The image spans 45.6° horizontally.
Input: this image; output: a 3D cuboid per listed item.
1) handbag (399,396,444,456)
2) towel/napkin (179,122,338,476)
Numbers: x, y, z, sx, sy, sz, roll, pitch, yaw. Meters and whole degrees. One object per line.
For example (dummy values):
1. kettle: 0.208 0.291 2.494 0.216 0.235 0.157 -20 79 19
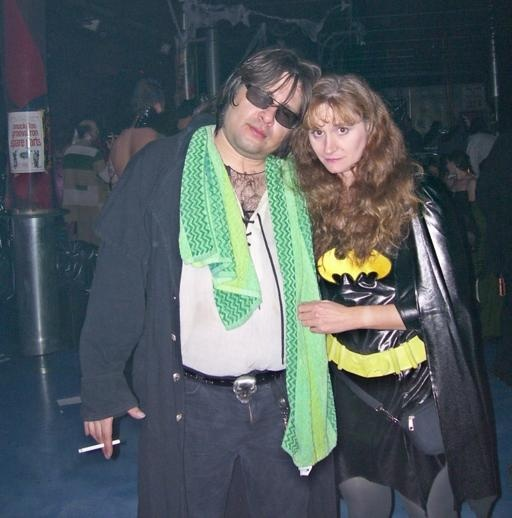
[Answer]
1. handbag: 0.613 0.627 2.232 0.151 0.238 0.054 -2 11 -3
2. towel/napkin: 0.014 0.101 2.196 0.470 1.396 0.192 4 -26 -17
